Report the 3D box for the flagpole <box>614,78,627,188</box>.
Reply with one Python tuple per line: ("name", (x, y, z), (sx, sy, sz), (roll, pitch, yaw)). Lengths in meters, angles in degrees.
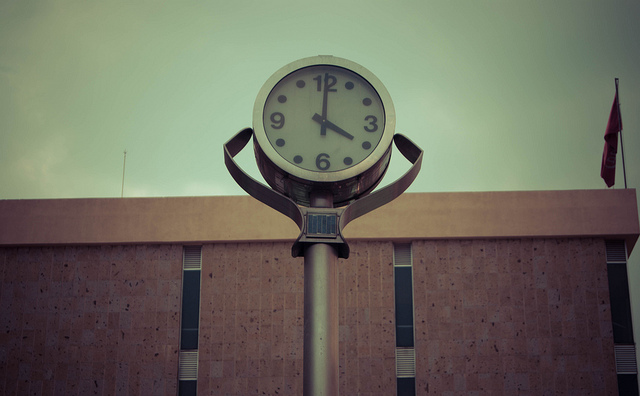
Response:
("flagpole", (9.880, -2.233, 25.276), (0.354, 5.275, 0.352), (-1, 2, -10))
